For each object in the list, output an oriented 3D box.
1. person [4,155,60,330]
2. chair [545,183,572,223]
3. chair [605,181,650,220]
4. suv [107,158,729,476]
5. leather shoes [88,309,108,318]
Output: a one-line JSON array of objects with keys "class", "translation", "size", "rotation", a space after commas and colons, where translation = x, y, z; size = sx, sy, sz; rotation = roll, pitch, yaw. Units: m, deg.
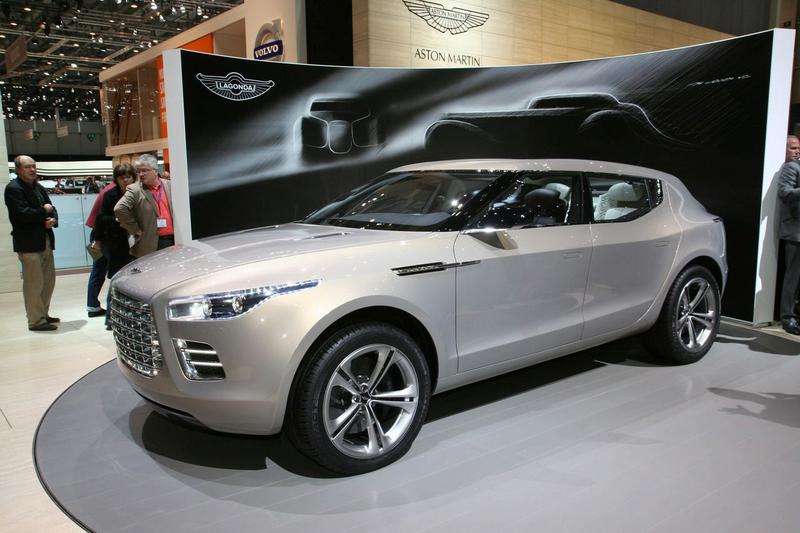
[{"class": "person", "translation": [-5.142, -0.324, 6.590], "size": [0.554, 2.376, 0.864], "rotation": [-8, 15, -23]}, {"class": "chair", "translation": [1.329, -0.590, 4.267], "size": [0.286, 0.373, 0.356], "rotation": [2, 11, 10]}, {"class": "chair", "translation": [2.158, -0.644, 4.629], "size": [0.441, 0.440, 0.359], "rotation": [3, 23, 14]}, {"class": "suv", "translation": [0.495, 0.240, 4.301], "size": [5.059, 1.716, 2.380], "rotation": [-3, 8, -31]}, {"class": "leather shoes", "translation": [-4.655, 0.730, 7.277], "size": [0.337, 0.134, 0.120], "rotation": [0, 3, -40]}]
